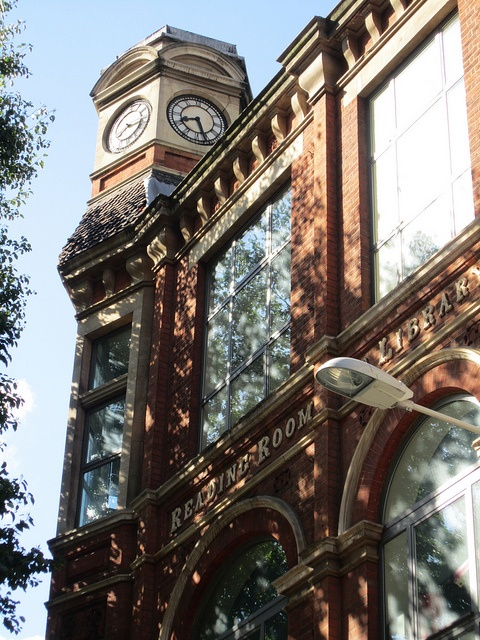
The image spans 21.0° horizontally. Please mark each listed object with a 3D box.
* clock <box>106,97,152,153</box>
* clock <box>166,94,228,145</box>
[{"bbox_3d":[-2.080,-3.741,25.058,0.081,0.980,0.939,28,-58,-29],"label":"clock"},{"bbox_3d":[-0.784,-3.913,25.221,1.175,1.328,0.064,7,-38,-20],"label":"clock"}]
